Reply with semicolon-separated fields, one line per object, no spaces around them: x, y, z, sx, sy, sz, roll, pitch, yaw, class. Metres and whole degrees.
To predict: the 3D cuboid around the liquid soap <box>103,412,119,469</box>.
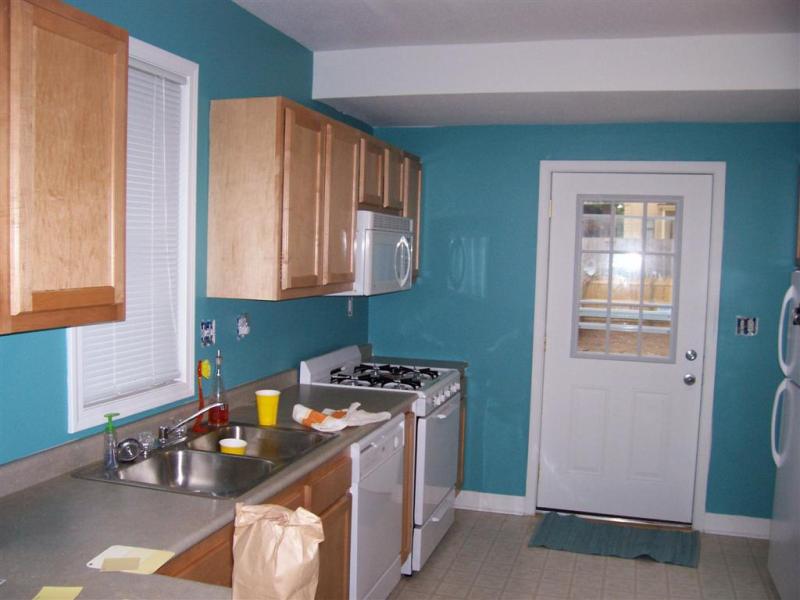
-1.052;0.504;2.293;0.044;0.173;0.191;0;9;-24;liquid soap

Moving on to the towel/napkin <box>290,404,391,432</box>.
-0.276;0.542;2.880;0.203;0.068;0.206;2;4;30;towel/napkin

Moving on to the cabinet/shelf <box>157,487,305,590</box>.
-0.628;0.703;1.935;0.217;0.078;0.340;7;11;17;cabinet/shelf

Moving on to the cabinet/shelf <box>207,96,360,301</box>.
-0.532;-0.479;3.196;0.342;0.880;0.948;4;5;17;cabinet/shelf

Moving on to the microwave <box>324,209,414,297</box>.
-0.163;-0.271;3.760;0.383;0.458;0.737;3;5;17;microwave

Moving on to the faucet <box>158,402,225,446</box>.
-0.838;0.507;2.602;0.320;0.118;0.085;-9;12;-24;faucet

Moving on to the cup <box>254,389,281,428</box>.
-0.580;0.491;2.869;0.140;0.147;0.137;1;4;0;cup

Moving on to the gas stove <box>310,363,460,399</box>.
-0.037;0.485;3.827;0.666;0.144;0.725;7;9;22;gas stove
